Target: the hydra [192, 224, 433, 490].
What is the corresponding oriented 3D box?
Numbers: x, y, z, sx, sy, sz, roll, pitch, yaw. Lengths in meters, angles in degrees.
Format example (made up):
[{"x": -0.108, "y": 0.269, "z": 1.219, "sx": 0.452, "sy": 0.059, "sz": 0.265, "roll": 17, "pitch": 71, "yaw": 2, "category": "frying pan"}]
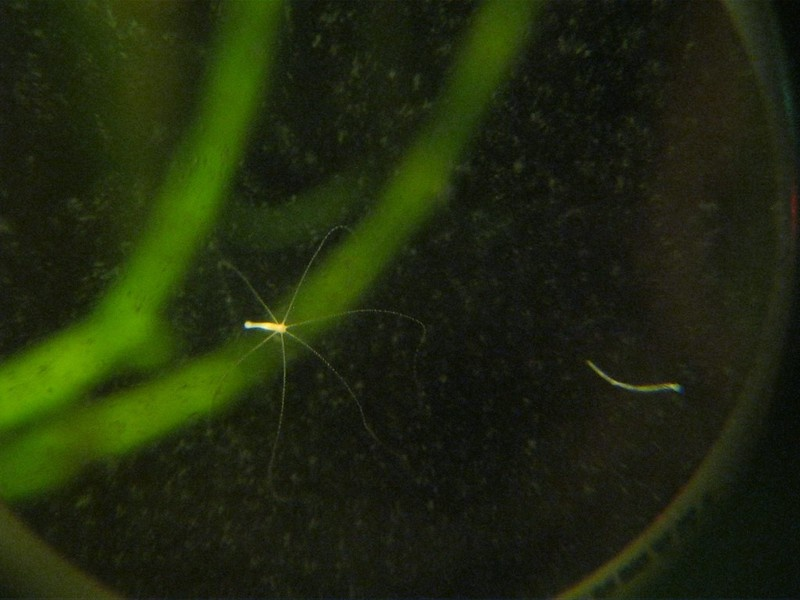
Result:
[{"x": -0.514, "y": 0.186, "z": 4.430, "sx": 1.262, "sy": 0.301, "sz": 1.279, "roll": -43, "pitch": 100, "yaw": 2, "category": "hydra"}]
